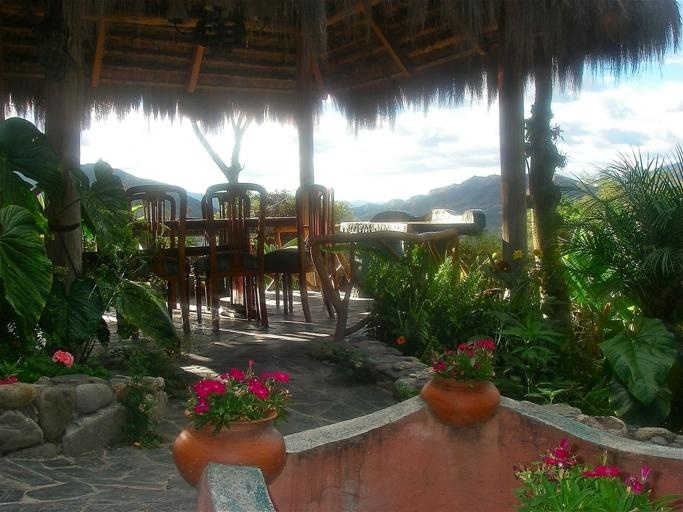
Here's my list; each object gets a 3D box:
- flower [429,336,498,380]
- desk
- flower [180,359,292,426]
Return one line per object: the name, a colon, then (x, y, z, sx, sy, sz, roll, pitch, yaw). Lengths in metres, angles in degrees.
flower: (0.691, 0.572, 2.674, 0.408, 0.176, 0.289, -7, 3, -11)
desk: (0.880, -0.060, 6.688, 1.951, 1.115, 0.851, -5, 10, -34)
flower: (-0.487, 0.588, 2.100, 0.336, 0.237, 0.329, 4, 7, 33)
